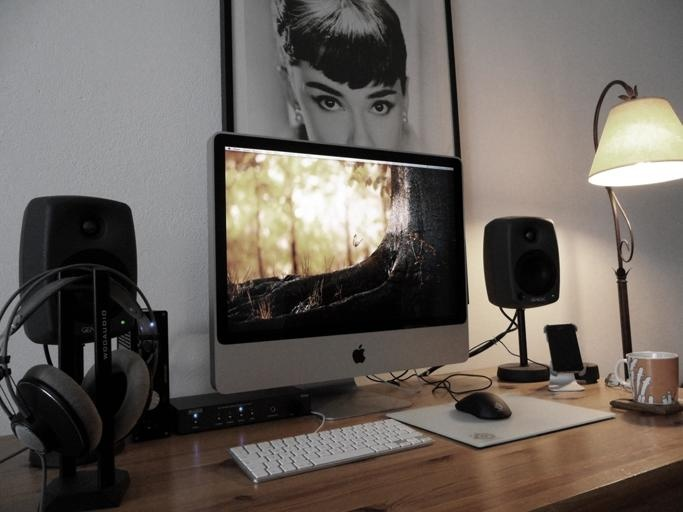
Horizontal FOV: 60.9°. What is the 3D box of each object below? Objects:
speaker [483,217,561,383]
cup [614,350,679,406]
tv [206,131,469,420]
[{"bbox_3d":[0.527,0.112,1.708,0.212,0.454,0.294,-1,10,4],"label":"speaker"},{"bbox_3d":[0.703,0.280,1.347,0.132,0.106,0.105,-4,-6,31],"label":"cup"},{"bbox_3d":[-0.002,0.031,1.491,0.658,0.642,0.213,-2,3,-25],"label":"tv"}]
